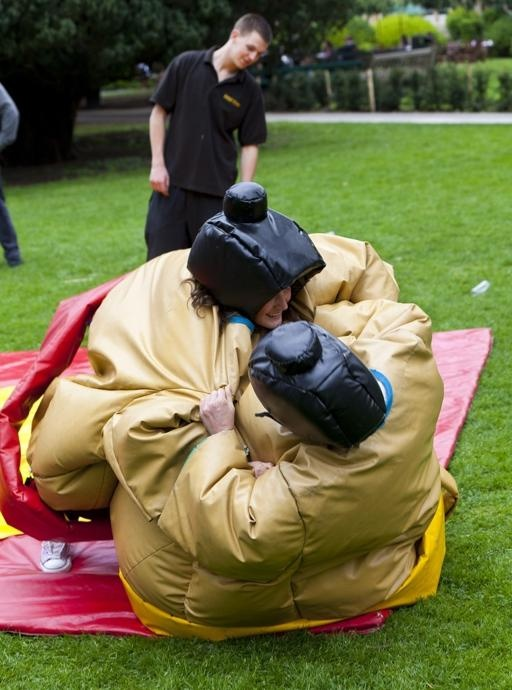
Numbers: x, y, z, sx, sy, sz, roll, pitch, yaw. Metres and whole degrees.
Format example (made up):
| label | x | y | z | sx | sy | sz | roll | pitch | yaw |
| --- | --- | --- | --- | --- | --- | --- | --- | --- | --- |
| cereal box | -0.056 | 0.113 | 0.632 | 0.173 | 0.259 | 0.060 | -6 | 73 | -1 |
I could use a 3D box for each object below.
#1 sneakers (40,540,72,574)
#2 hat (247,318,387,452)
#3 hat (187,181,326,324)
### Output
| label | x | y | z | sx | sy | sz | roll | pitch | yaw |
| --- | --- | --- | --- | --- | --- | --- | --- | --- | --- |
| sneakers | -0.727 | 0.767 | 2.864 | 0.073 | 0.068 | 0.183 | 2 | -4 | -13 |
| hat | 0.156 | 0.090 | 2.054 | 0.245 | 0.363 | 0.359 | -47 | -7 | -2 |
| hat | -0.013 | -0.331 | 2.510 | 0.461 | 0.353 | 0.326 | 23 | 43 | 31 |
